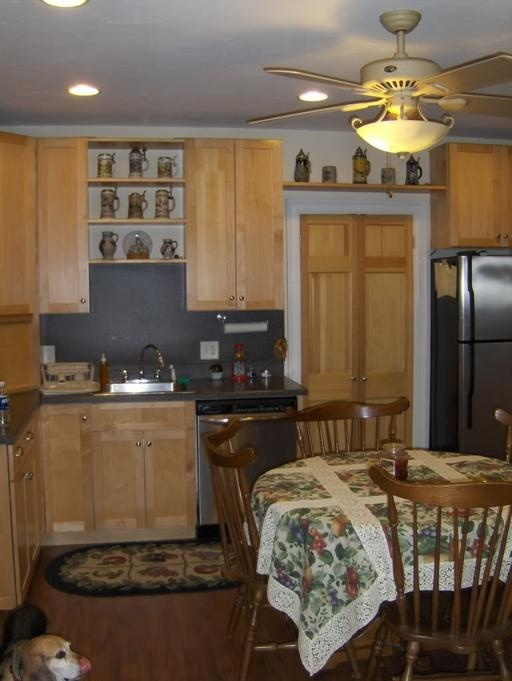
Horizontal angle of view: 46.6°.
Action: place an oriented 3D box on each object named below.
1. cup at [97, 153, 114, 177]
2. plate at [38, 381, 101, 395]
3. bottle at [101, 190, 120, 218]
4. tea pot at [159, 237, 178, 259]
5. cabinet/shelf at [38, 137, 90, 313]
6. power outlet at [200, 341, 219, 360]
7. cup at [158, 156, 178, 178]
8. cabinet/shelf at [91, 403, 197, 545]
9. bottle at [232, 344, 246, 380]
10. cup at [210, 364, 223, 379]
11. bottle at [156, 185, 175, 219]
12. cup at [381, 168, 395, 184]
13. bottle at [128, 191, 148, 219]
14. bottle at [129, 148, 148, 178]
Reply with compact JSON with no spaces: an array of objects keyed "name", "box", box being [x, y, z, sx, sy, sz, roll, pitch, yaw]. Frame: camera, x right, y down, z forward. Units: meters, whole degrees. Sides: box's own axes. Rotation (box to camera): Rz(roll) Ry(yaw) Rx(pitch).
[{"name":"cup","box":[-0.986,-1.137,3.894,0.115,0.140,0.225,-2,1,-13]},{"name":"plate","box":[-1.149,0.294,3.671,0.339,0.064,0.259,-2,1,-14]},{"name":"bottle","box":[-0.964,-0.891,3.911,0.126,0.170,0.233,-2,1,-11]},{"name":"tea pot","box":[-0.562,-0.608,4.006,0.164,0.168,0.138,1,-1,-5]},{"name":"cabinet/shelf","box":[-1.198,-0.705,3.678,0.307,0.910,0.107,-2,1,-18]},{"name":"power outlet","box":[-0.333,0.074,4.171,0.143,0.131,0.014,0,2,-11]},{"name":"cup","box":[-0.596,-1.145,3.954,0.131,0.192,0.219,-2,1,-8]},{"name":"cabinet/shelf","box":[-0.671,0.765,3.775,0.819,1.025,0.722,-1,1,-10]},{"name":"bottle","box":[-0.117,0.157,4.069,0.091,0.172,0.201,-2,1,-2]},{"name":"cup","box":[-0.251,0.215,4.064,0.082,0.100,0.104,-1,-7,8]},{"name":"bottle","box":[-0.611,-0.899,3.968,0.133,0.155,0.235,-2,1,-8]},{"name":"cup","box":[0.941,-1.168,4.242,0.094,0.148,0.161,-1,1,16]},{"name":"bottle","box":[-0.781,-0.884,3.930,0.129,0.153,0.274,-2,1,-10]},{"name":"bottle","box":[-0.780,-1.163,3.935,0.121,0.164,0.244,-2,1,-9]}]
